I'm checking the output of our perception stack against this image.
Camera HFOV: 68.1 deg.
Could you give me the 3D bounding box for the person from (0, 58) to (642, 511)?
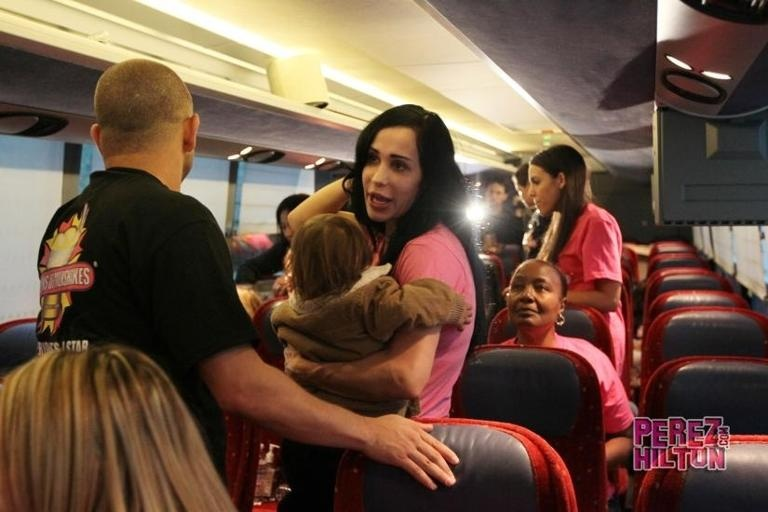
[{"bbox_3d":[-0.566,0.010,1.769,1.279,1.300,0.424,2,3,25],"label":"person"}]
